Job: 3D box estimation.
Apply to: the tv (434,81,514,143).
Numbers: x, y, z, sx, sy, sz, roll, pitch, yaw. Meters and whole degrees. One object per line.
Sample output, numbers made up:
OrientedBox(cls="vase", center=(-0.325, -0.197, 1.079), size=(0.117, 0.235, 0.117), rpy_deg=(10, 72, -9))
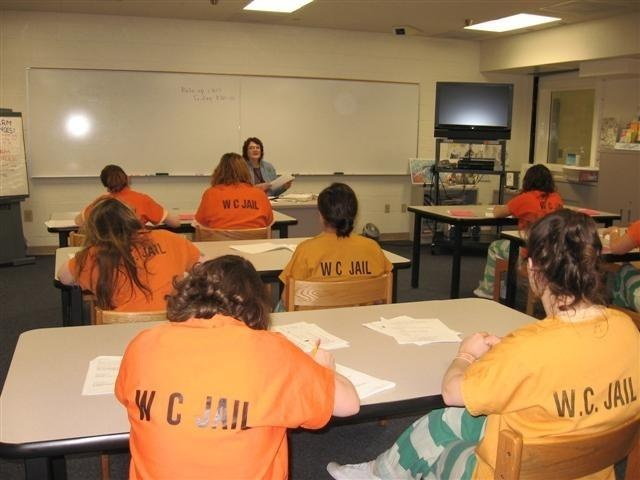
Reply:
OrientedBox(cls="tv", center=(1.933, -1.648, 6.452), size=(0.975, 0.710, 0.106), rpy_deg=(2, -1, 3))

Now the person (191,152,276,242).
OrientedBox(cls="person", center=(-0.679, -0.351, 4.144), size=(0.558, 0.727, 0.502), rpy_deg=(2, 11, -16))

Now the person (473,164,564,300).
OrientedBox(cls="person", center=(1.916, -0.036, 4.839), size=(0.553, 1.369, 0.781), rpy_deg=(2, 4, -19))
